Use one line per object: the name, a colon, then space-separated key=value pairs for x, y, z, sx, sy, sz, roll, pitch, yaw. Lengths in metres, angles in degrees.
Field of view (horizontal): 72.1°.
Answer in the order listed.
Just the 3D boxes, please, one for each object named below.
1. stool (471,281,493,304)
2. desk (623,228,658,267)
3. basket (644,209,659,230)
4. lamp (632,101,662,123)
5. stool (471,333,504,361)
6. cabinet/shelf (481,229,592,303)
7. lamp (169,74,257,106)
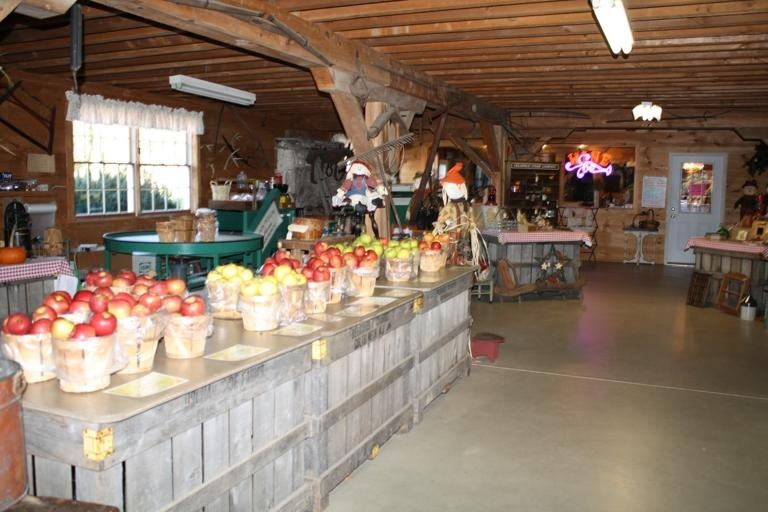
stool: x=1.783 y=0.659 z=9.321 sx=0.343 sy=0.413 sz=0.615 roll=4 pitch=6 yaw=29
desk: x=6.505 y=-0.449 z=13.448 sx=0.642 sy=0.566 sz=0.635 roll=0 pitch=23 yaw=34
basket: x=6.760 y=-0.883 z=13.261 sx=0.318 sy=0.490 sz=0.551 roll=6 pitch=11 yaw=26
lamp: x=4.953 y=-2.706 z=9.948 sx=0.648 sy=0.241 sz=0.624 roll=5 pitch=36 yaw=19
stool: x=1.229 y=1.091 z=6.310 sx=0.373 sy=0.258 sz=0.304 roll=2 pitch=10 yaw=9
cabinet/shelf: x=2.669 y=0.117 z=9.595 sx=2.119 sy=1.286 sz=1.312 roll=-1 pitch=12 yaw=-7
lamp: x=-2.262 y=-2.203 z=6.969 sx=0.441 sy=0.242 sz=1.477 roll=3 pitch=10 yaw=13
